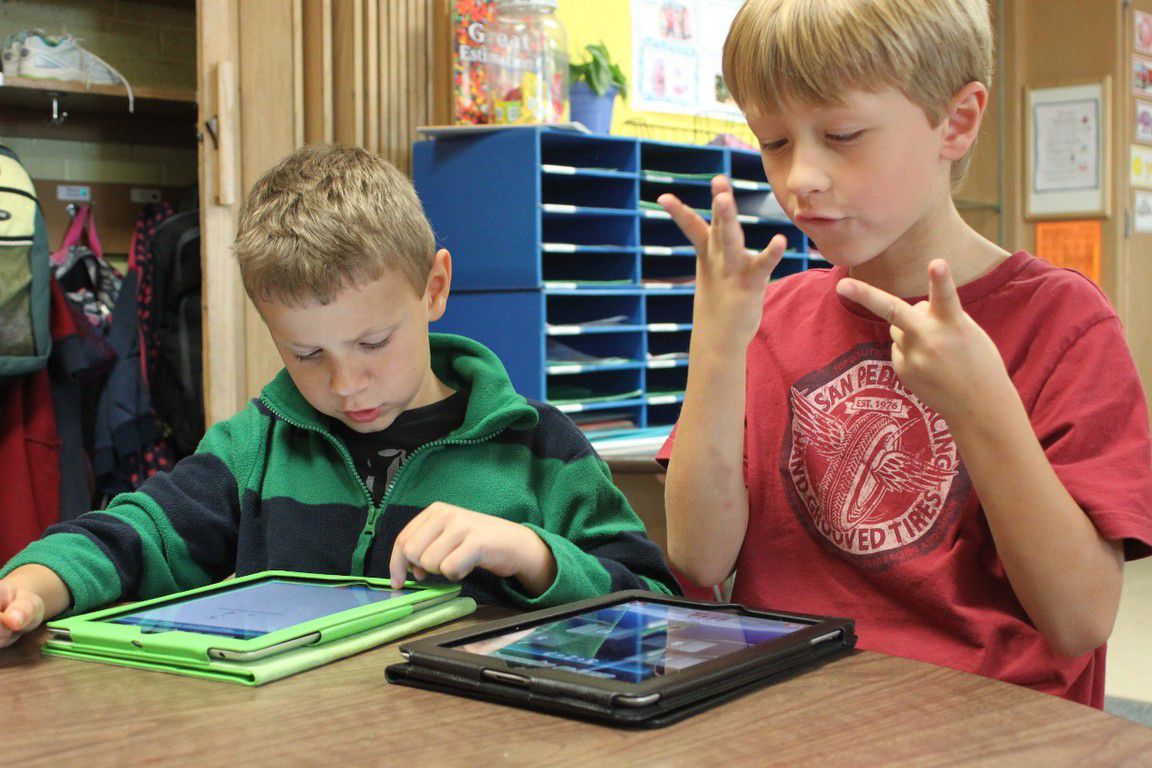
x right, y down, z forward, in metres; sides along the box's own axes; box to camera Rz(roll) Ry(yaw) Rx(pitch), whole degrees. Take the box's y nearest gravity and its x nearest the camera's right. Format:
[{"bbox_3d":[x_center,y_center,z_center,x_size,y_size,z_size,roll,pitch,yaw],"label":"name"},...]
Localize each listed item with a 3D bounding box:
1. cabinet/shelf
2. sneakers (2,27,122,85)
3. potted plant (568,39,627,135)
[{"bbox_3d":[0.042,-0.245,2.143,0.322,0.821,0.998,1,4,34],"label":"cabinet/shelf"},{"bbox_3d":[-1.822,-1.163,3.433,0.486,0.180,0.166,0,5,-39],"label":"sneakers"},{"bbox_3d":[0.022,-0.913,2.963,0.176,0.172,0.147,-5,8,-31],"label":"potted plant"}]
